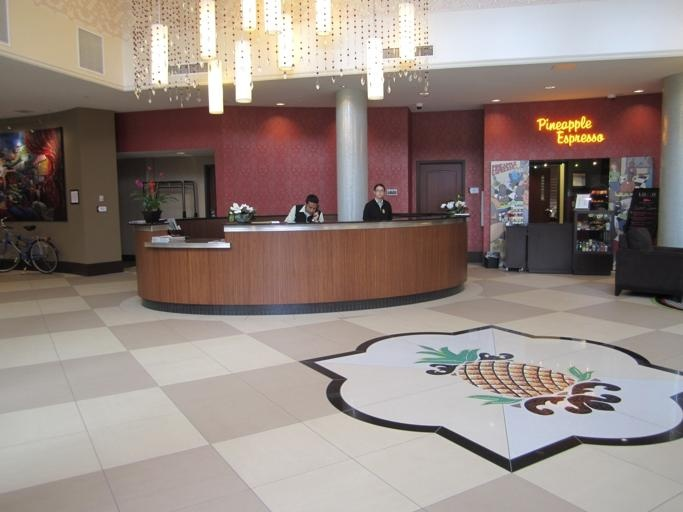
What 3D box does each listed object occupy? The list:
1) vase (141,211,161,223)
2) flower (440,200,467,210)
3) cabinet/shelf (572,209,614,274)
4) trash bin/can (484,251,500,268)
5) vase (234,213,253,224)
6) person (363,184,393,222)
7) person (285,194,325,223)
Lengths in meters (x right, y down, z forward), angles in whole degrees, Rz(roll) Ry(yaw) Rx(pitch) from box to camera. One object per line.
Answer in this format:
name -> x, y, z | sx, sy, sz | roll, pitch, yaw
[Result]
vase -> -3.447, -0.719, 8.593 | 0.304, 0.207, 0.315 | -2, -7, 3
flower -> 2.555, -1.174, 10.763 | 0.430, 0.153, 0.446 | -1, 5, -1
cabinet/shelf -> 5.291, -0.307, 10.001 | 0.748, 1.329, 0.328 | 2, 8, 20
trash bin/can -> 3.554, 0.085, 11.211 | 0.353, 0.324, 0.441 | 2, 8, 18
vase -> -1.467, -0.571, 7.159 | 0.222, 0.091, 0.194 | 1, 0, -34
person -> 0.624, -0.969, 8.537 | 0.516, 0.624, 0.730 | 0, 8, 7
person -> -0.595, -0.774, 7.624 | 0.516, 0.408, 0.871 | -3, 8, -12
